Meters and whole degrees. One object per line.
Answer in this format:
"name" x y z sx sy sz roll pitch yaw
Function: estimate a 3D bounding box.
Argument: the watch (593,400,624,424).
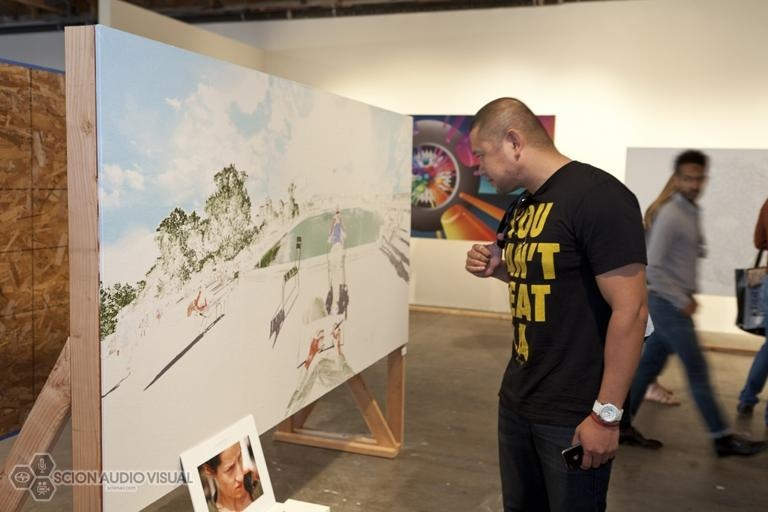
"watch" 0.805 0.561 1.982 0.101 0.089 0.053 4 11 21
